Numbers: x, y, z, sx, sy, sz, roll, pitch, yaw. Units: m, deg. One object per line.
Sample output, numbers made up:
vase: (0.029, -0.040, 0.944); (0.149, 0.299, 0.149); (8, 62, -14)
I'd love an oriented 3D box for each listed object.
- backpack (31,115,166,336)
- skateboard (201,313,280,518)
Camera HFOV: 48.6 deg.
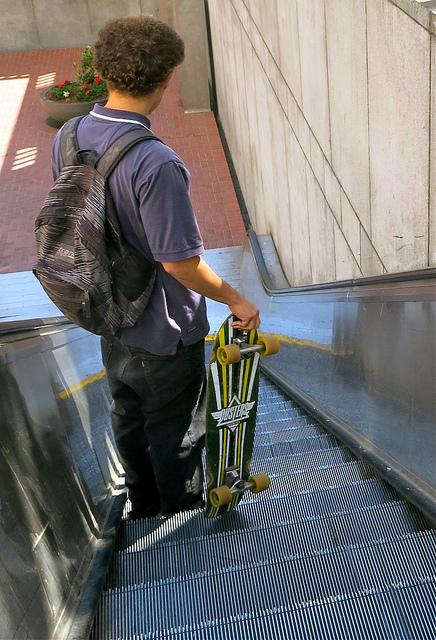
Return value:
backpack: (-0.394, -0.286, 1.573); (0.397, 0.627, 0.376); (28, 34, 37)
skateboard: (0.056, 0.339, 1.821); (0.261, 0.835, 0.126); (-7, 33, -15)
